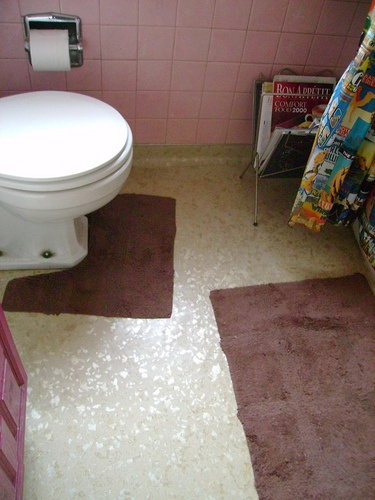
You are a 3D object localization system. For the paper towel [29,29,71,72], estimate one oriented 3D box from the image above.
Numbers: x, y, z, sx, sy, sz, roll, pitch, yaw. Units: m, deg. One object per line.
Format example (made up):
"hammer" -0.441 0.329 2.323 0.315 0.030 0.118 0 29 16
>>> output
"paper towel" -0.408 -0.615 1.181 0.136 0.121 0.111 -2 46 -19
